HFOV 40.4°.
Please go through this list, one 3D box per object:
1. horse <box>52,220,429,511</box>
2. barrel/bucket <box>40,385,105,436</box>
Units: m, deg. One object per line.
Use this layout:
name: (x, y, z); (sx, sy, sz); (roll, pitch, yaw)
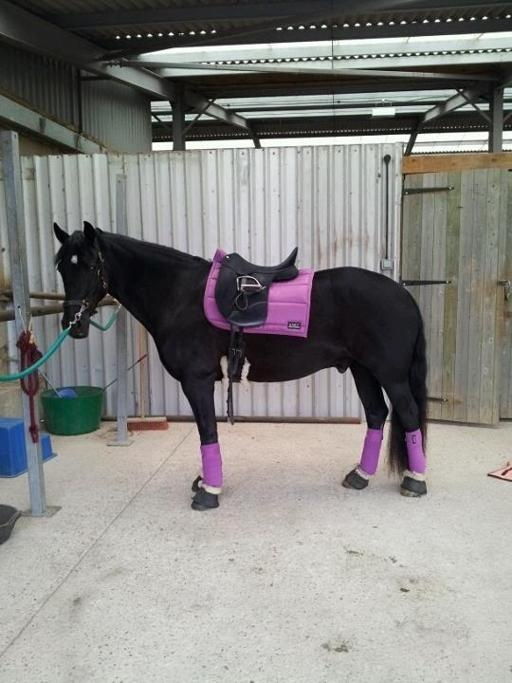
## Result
horse: (-0.013, 0.101, 3.617); (1.755, 1.462, 0.646); (1, 13, 11)
barrel/bucket: (-1.266, 0.498, 4.933); (0.408, 0.245, 0.397); (2, -3, 0)
